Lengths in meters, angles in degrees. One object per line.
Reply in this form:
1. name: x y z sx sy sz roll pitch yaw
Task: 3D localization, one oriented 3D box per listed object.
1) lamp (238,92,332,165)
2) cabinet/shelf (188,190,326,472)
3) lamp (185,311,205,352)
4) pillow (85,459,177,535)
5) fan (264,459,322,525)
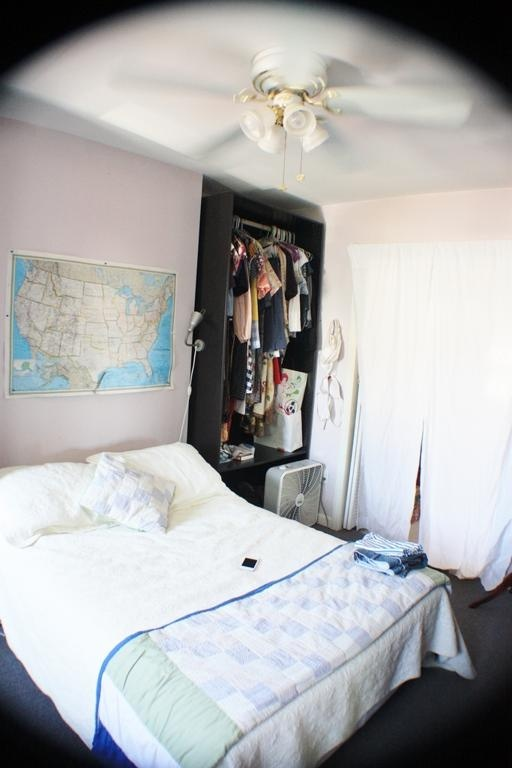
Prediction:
1. lamp: 0.078 -0.831 1.727 0.258 0.127 0.248 5 3 41
2. cabinet/shelf: -0.067 -0.359 3.452 0.499 1.631 0.998 10 10 37
3. lamp: -0.341 -0.287 3.072 0.112 0.240 0.222 4 8 0
4. pillow: -0.537 0.491 2.341 0.303 0.092 0.311 28 38 -20
5. fan: 0.226 0.661 3.335 0.146 0.462 0.407 11 11 39
